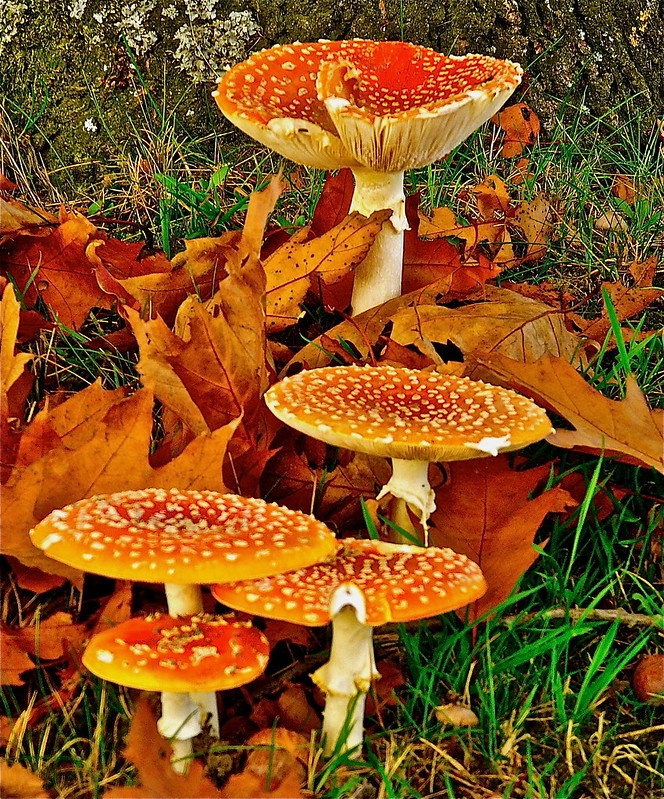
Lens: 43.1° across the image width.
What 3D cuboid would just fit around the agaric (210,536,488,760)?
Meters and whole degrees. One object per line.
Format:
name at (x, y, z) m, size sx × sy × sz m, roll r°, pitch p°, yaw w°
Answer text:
agaric at (0.037, 0.589, 1.868) m, size 0.623 × 0.429 × 0.585 m, roll 1°, pitch -2°, yaw -23°

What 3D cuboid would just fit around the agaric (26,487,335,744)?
agaric at (-0.308, 0.400, 1.779) m, size 0.486 × 0.351 × 0.424 m, roll 7°, pitch 13°, yaw -7°

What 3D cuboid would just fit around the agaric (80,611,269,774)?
agaric at (-0.312, 0.640, 1.749) m, size 0.353 × 0.267 × 0.352 m, roll -2°, pitch 3°, yaw -44°

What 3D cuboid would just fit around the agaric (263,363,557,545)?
agaric at (0.179, 0.177, 2.030) m, size 0.622 × 0.380 × 0.584 m, roll -13°, pitch 23°, yaw -39°
